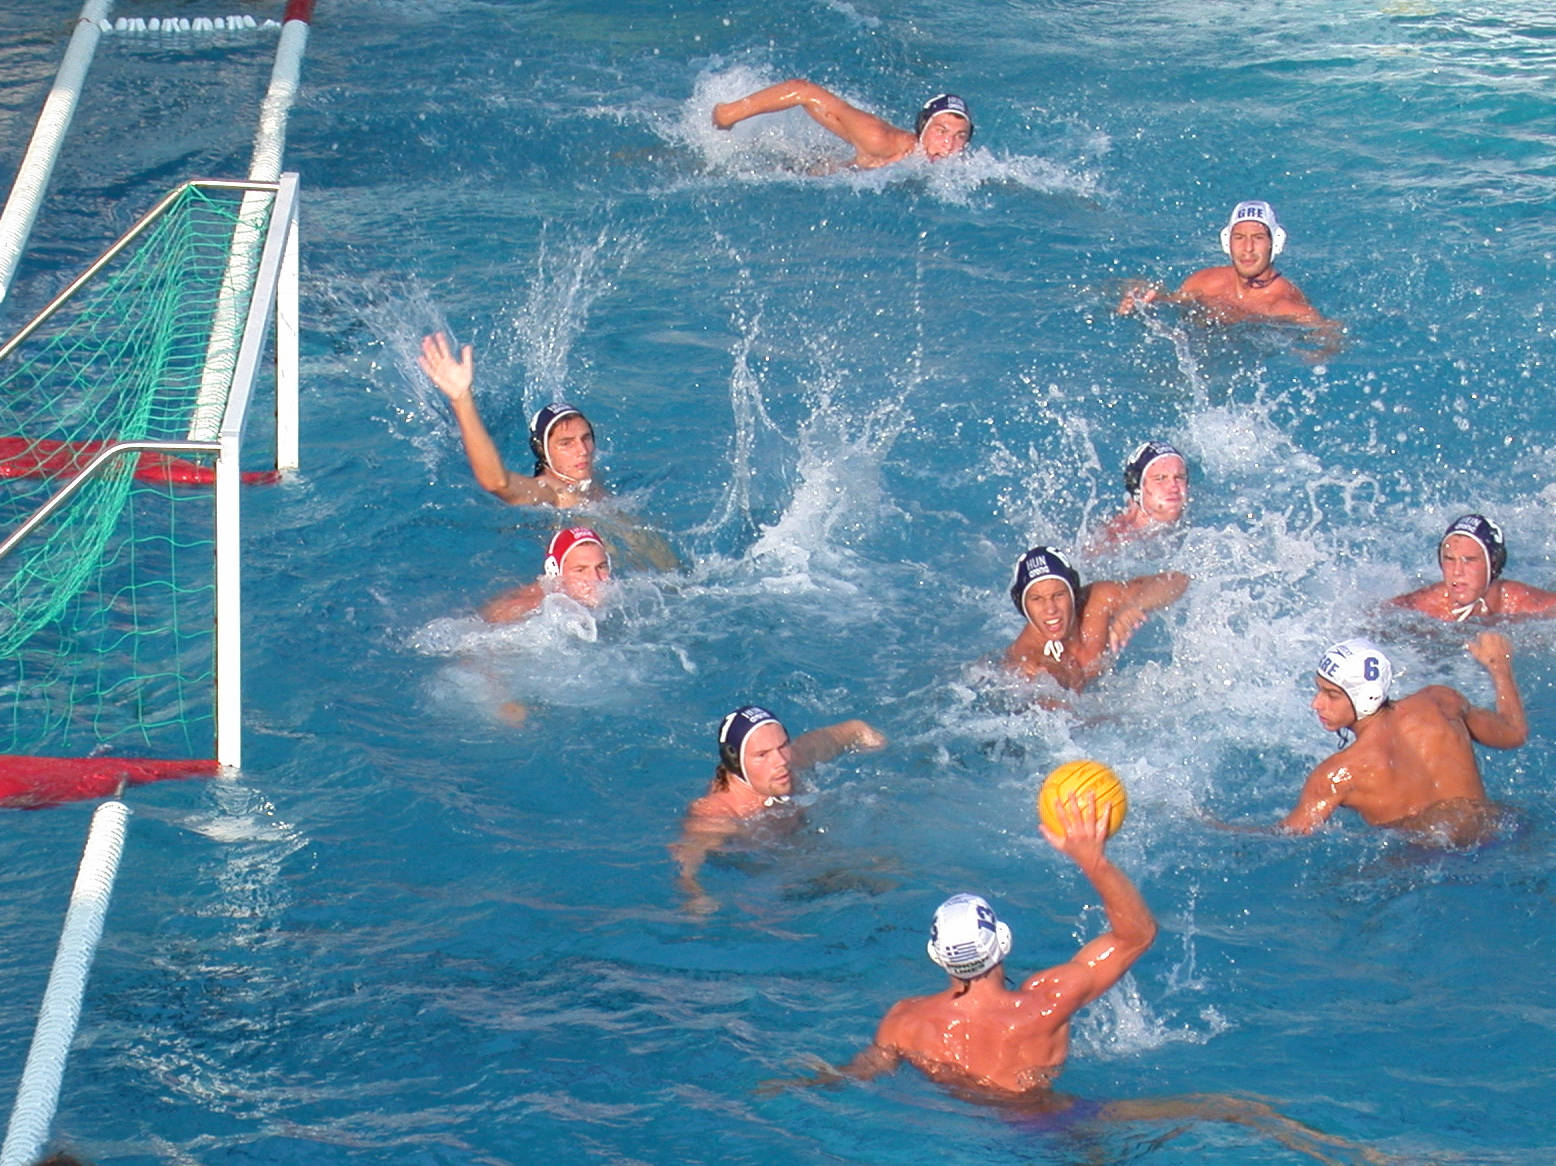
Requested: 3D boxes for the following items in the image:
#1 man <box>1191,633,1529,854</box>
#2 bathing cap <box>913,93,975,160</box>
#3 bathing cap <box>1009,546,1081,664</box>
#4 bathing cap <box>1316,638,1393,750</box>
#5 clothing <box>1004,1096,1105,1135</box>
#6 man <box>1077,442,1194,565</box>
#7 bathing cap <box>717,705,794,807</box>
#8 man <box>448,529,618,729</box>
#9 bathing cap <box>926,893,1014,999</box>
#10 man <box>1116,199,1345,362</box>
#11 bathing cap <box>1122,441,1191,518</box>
[{"bbox_3d":[3.222,0.791,8.929,1.439,1.601,1.079,0,57,31],"label":"man"},{"bbox_3d":[1.427,-4.091,14.394,0.523,0.542,0.633,0,39,-8],"label":"bathing cap"},{"bbox_3d":[1.647,0.081,9.982,0.429,0.565,0.387,15,51,9],"label":"bathing cap"},{"bbox_3d":[3.082,0.562,8.621,0.446,0.373,0.426,-3,7,1],"label":"bathing cap"},{"bbox_3d":[1.191,2.318,7.048,0.389,0.117,0.221,10,48,6],"label":"clothing"},{"bbox_3d":[2.663,-0.571,10.930,1.158,0.616,0.574,-3,80,-5],"label":"man"},{"bbox_3d":[-0.192,0.858,8.799,0.301,0.330,0.339,30,54,21],"label":"bathing cap"},{"bbox_3d":[-1.483,0.100,10.216,0.687,0.464,1.203,31,54,16],"label":"man"},{"bbox_3d":[0.854,1.638,7.193,0.376,0.295,0.370,-8,52,11],"label":"bathing cap"},{"bbox_3d":[3.537,-2.343,12.446,1.718,0.953,0.932,19,31,37],"label":"man"},{"bbox_3d":[2.590,-0.768,10.947,0.353,0.368,0.441,15,22,-11],"label":"bathing cap"}]
